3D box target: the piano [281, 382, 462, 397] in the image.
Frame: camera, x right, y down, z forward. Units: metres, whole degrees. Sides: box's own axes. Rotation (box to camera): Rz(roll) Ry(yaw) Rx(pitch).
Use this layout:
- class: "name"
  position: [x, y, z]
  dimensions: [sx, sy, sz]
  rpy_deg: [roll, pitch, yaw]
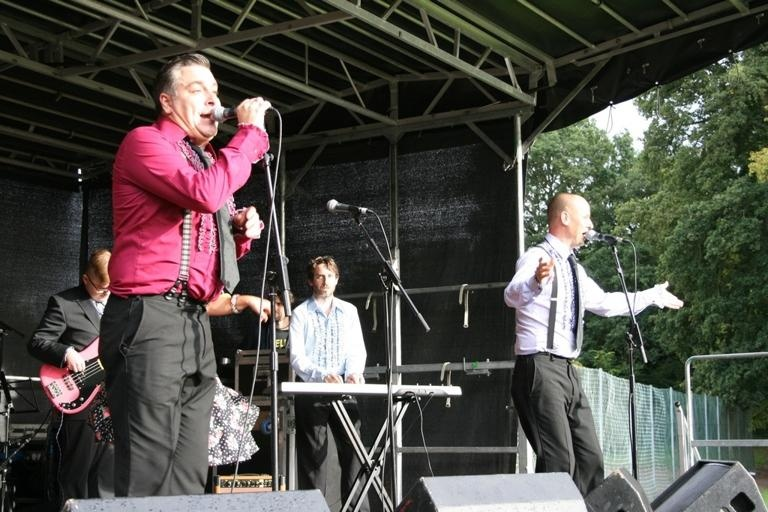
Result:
- class: "piano"
  position: [-0.102, 1.112, 8.263]
  dimensions: [1.591, 0.142, 0.454]
  rpy_deg: [2, -5, -20]

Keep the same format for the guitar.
- class: "guitar"
  position: [-2.800, 1.066, 8.930]
  dimensions: [0.770, 0.346, 0.104]
  rpy_deg: [-34, 3, -11]

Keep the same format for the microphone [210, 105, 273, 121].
- class: "microphone"
  position: [-0.993, -1.005, 6.895]
  dimensions: [0.339, 0.104, 0.095]
  rpy_deg: [-5, 1, -3]

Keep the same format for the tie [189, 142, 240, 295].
- class: "tie"
  position: [-1.188, -0.271, 6.921]
  dimensions: [0.239, 1.268, 0.276]
  rpy_deg: [-2, 1, -11]

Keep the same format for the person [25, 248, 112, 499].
- class: "person"
  position: [-3.062, 1.235, 9.538]
  dimensions: [0.864, 2.708, 0.920]
  rpy_deg: [6, -2, -32]

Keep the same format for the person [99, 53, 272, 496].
- class: "person"
  position: [-1.373, 0.595, 6.988]
  dimensions: [1.089, 4.180, 1.355]
  rpy_deg: [3, -6, -20]

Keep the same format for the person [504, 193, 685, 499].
- class: "person"
  position: [1.599, 0.685, 8.237]
  dimensions: [1.132, 2.501, 0.619]
  rpy_deg: [2, -4, -28]
